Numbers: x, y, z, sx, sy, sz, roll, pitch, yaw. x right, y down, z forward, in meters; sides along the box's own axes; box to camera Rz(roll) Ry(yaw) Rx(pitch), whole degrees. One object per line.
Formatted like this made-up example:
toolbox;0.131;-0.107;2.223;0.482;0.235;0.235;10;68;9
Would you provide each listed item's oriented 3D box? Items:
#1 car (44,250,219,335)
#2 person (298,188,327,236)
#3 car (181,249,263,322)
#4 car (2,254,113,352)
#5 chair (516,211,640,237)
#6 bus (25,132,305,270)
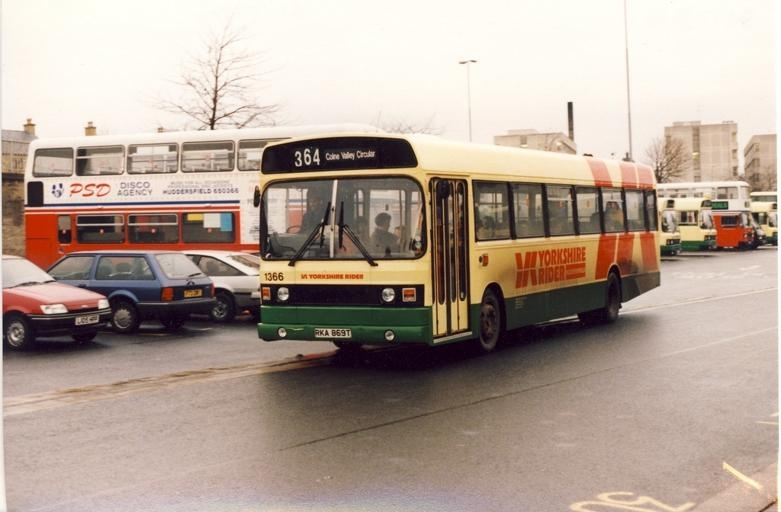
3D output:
car;-6.570;0.672;17.639;3.447;1.324;2.108;6;5;23
person;-1.295;-0.773;12.071;0.574;0.782;0.193;-2;4;24
car;-4.323;0.787;19.338;2.634;1.169;1.608;1;1;14
car;-7.647;1.127;15.245;2.199;1.762;1.457;-2;4;20
chair;4.259;-0.723;16.082;3.547;0.420;0.442;-6;10;-42
bus;-8.678;-1.686;24.671;9.156;4.343;2.446;-5;11;-43
